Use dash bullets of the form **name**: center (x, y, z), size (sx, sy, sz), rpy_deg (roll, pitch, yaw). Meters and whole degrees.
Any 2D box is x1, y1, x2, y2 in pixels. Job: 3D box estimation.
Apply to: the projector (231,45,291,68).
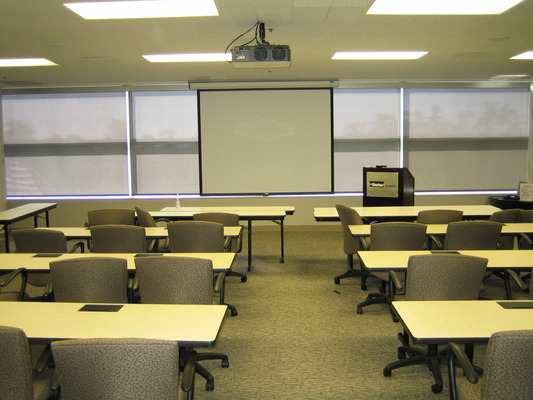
- **projector**: center (-0.065, -1.737, 5.556), size (0.679, 0.251, 0.150), rpy_deg (2, 11, 5)
